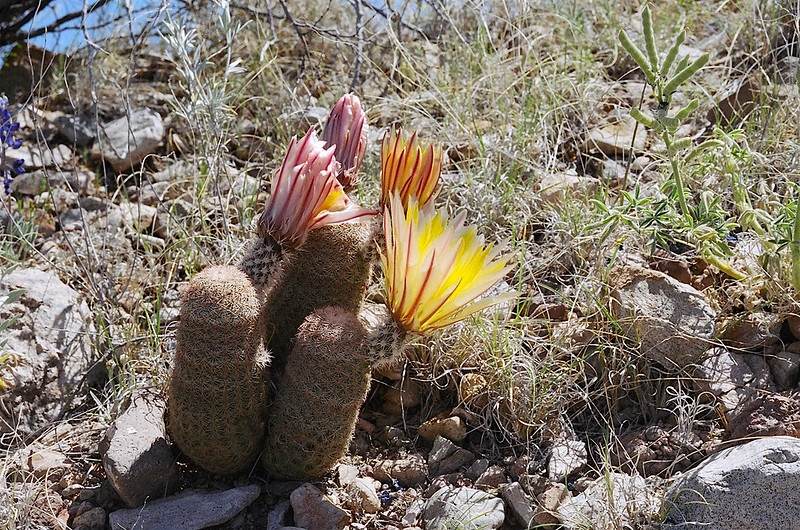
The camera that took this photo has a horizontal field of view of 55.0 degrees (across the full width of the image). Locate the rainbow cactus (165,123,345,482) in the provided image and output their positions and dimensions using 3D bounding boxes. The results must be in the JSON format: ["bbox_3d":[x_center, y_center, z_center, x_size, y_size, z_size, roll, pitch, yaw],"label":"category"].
[{"bbox_3d":[-0.526,0.163,2.594,0.410,1.184,0.384,21,9,23],"label":"rainbow cactus"}]

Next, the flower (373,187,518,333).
[{"bbox_3d":[0.087,0.037,2.519,0.459,0.381,0.493,15,-18,24],"label":"flower"}]
